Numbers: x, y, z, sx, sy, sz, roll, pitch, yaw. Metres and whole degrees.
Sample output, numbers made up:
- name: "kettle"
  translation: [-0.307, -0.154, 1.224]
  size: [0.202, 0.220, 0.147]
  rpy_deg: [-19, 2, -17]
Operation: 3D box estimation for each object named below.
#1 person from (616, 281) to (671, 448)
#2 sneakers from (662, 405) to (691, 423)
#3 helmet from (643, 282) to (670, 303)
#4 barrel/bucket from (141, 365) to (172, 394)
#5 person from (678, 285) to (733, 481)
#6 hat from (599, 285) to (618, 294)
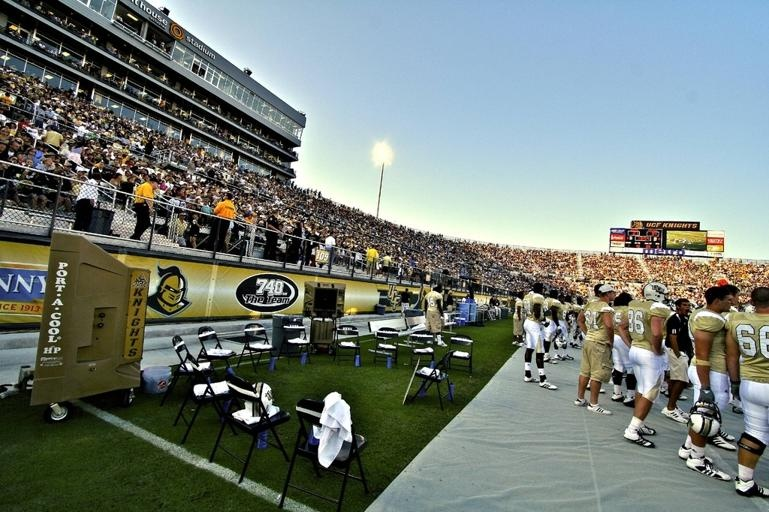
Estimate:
- name: "person"
  translation: [5.393, 2.231, 8.636]
  size: [0.741, 3.338, 0.561]
  rpy_deg: [0, -6, 35]
- name: "sneakers"
  translation: [6.904, 3.810, 9.936]
  size: [0.275, 0.215, 0.505]
  rpy_deg: [2, -1, -44]
- name: "helmet"
  translation: [5.598, 0.758, 8.724]
  size: [0.459, 0.465, 0.391]
  rpy_deg: [3, 4, 20]
- name: "barrel/bucket"
  translation: [-5.085, 2.771, 9.276]
  size: [0.589, 0.414, 0.568]
  rpy_deg: [2, -3, 0]
- name: "person"
  translation: [7.010, 2.473, 9.201]
  size: [1.054, 3.429, 1.062]
  rpy_deg: [-8, -3, 43]
- name: "hat"
  translation: [5.458, 0.831, 10.258]
  size: [0.543, 0.244, 0.326]
  rpy_deg: [-1, 1, -33]
